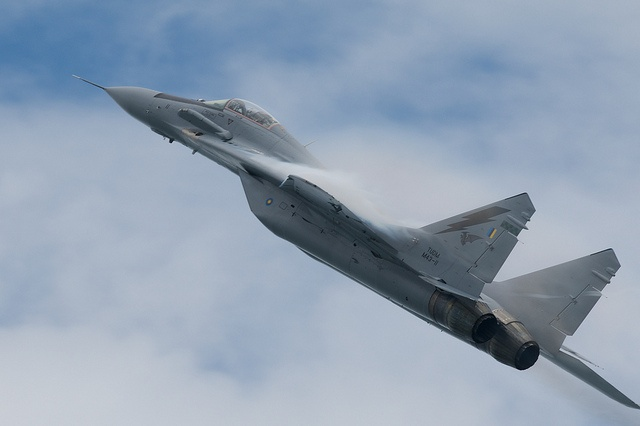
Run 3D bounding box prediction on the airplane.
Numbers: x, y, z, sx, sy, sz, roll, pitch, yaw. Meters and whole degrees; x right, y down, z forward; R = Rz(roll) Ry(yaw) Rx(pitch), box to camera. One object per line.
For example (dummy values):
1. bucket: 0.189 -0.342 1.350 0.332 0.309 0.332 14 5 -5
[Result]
1. airplane: 1.194 0.312 26.408 3.179 13.272 11.276 -60 -23 4
